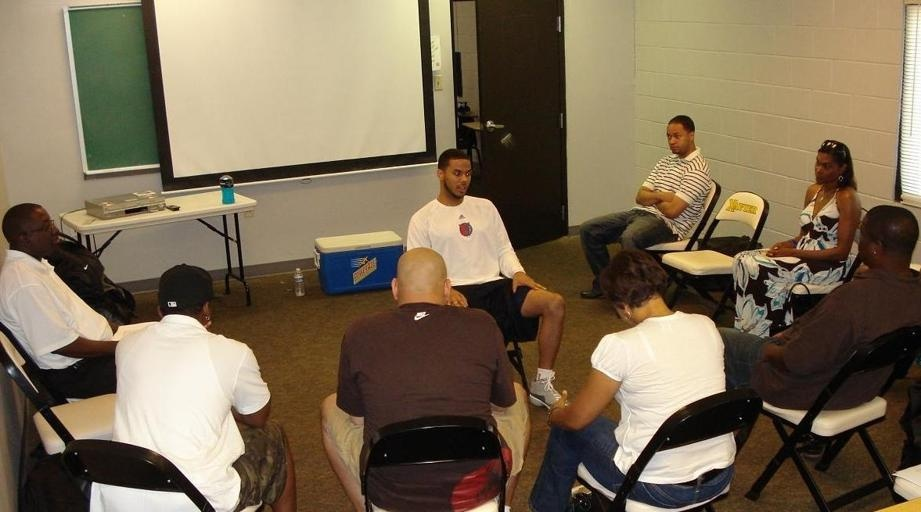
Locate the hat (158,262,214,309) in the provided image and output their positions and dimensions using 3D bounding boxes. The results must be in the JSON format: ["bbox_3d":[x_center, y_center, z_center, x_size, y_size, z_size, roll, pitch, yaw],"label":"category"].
[{"bbox_3d":[-1.539,0.184,3.735,0.228,0.163,0.292,3,20,10],"label":"hat"}]

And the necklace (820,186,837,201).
[{"bbox_3d":[3.135,-0.535,5.635,0.100,0.095,0.039,9,-16,34],"label":"necklace"}]

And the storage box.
[{"bbox_3d":[-1.227,-0.061,7.437,1.152,0.648,0.616,-5,15,-19],"label":"storage box"}]

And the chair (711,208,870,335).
[{"bbox_3d":[2.913,0.027,6.018,1.217,1.152,0.789,-3,16,10],"label":"chair"}]

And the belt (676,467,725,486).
[{"bbox_3d":[1.363,1.240,3.679,0.133,0.034,0.131,-23,-2,14],"label":"belt"}]

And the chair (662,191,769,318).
[{"bbox_3d":[2.436,0.014,6.317,0.935,1.120,0.672,-9,18,-11],"label":"chair"}]

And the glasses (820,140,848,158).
[{"bbox_3d":[3.128,-0.890,5.507,0.199,0.123,0.148,-1,18,6],"label":"glasses"}]

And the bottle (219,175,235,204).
[{"bbox_3d":[-2.459,-0.698,6.851,0.144,0.257,0.340,-11,20,-21],"label":"bottle"}]

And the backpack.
[{"bbox_3d":[-3.046,0.191,5.433,0.828,0.278,0.592,31,14,-16],"label":"backpack"}]

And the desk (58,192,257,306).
[{"bbox_3d":[-3.036,-0.098,6.388,1.171,0.671,0.447,-11,25,-30],"label":"desk"}]
